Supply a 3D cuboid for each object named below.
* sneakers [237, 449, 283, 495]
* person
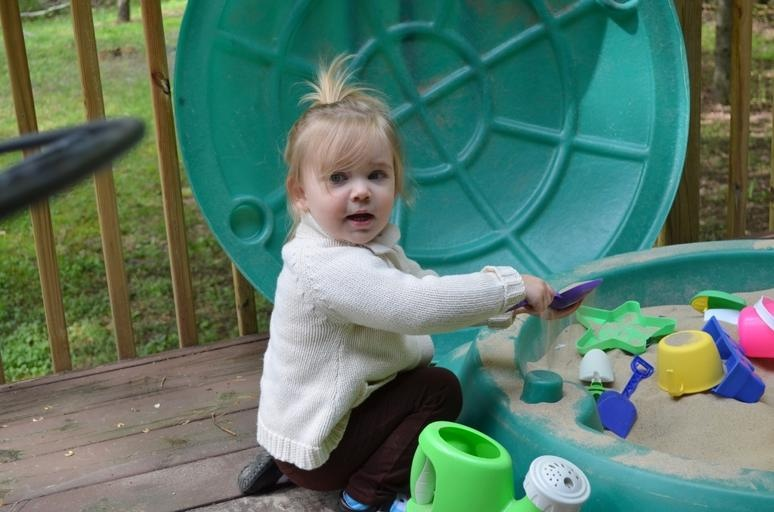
[{"bbox_3d":[-0.383,0.666,2.118,0.154,0.090,0.064,-44,-20,12],"label":"sneakers"},{"bbox_3d":[-0.032,0.090,1.937,0.705,1.274,0.346,-4,0,-13],"label":"person"}]
